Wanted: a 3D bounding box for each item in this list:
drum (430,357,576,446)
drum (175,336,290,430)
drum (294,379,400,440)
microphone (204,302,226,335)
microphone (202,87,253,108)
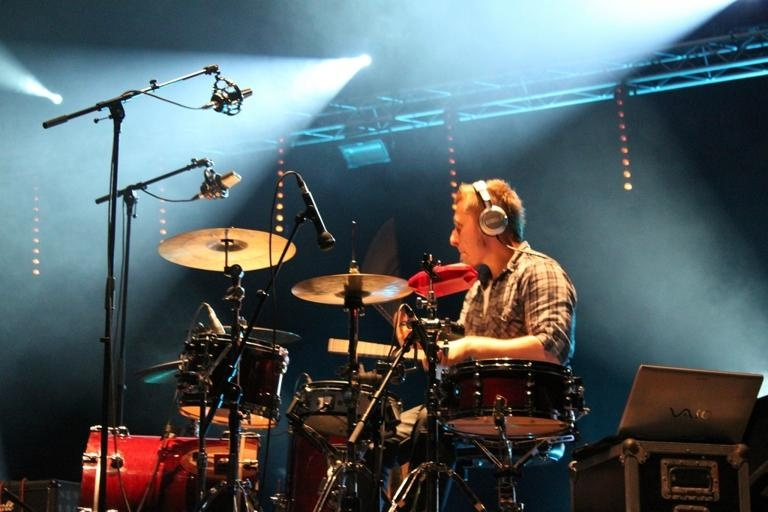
[{"bbox_3d":[1.008,1.128,8.312,0.832,0.262,0.780,1,-16,0],"label":"drum"},{"bbox_3d":[-1.444,1.079,8.998,0.935,0.594,0.889,5,-27,3],"label":"drum"},{"bbox_3d":[-0.400,1.247,8.721,0.643,0.197,0.619,10,-29,6],"label":"drum"},{"bbox_3d":[-1.602,0.602,9.769,0.088,0.292,0.026,-28,4,8],"label":"microphone"},{"bbox_3d":[-1.427,-1.450,9.477,0.408,0.161,0.191,-12,7,-28],"label":"microphone"}]
